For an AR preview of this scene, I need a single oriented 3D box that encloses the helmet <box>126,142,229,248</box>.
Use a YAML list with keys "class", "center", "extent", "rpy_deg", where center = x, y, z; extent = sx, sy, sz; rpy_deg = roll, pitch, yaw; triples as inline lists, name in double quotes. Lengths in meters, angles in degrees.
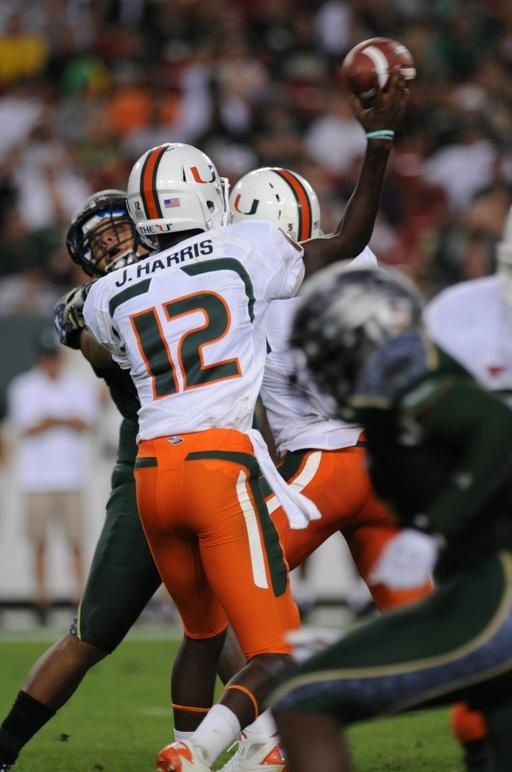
- class: "helmet"
  center: [-0.240, -0.557, 2.481]
  extent: [0.263, 0.238, 0.340]
  rpy_deg: [-3, 9, 31]
